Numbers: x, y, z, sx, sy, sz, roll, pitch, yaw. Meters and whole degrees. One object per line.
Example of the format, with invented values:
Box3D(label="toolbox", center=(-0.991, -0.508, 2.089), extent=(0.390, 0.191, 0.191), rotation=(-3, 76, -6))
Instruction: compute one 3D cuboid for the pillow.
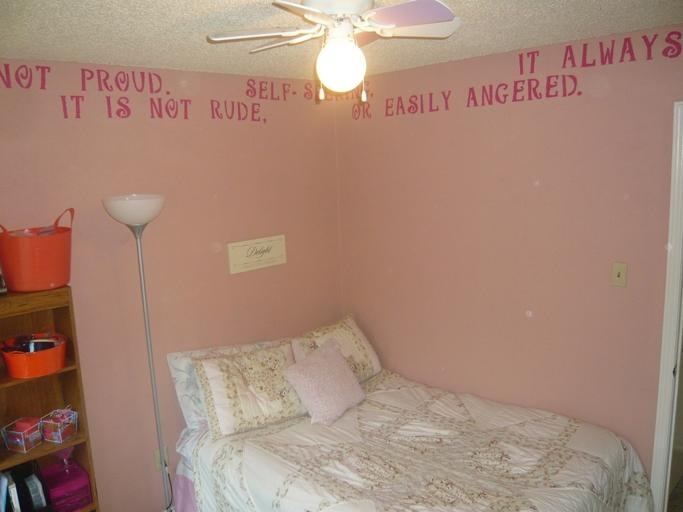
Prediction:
Box3D(label="pillow", center=(-0.507, 0.752, 2.892), extent=(1.272, 0.530, 0.187), rotation=(-11, -14, -33))
